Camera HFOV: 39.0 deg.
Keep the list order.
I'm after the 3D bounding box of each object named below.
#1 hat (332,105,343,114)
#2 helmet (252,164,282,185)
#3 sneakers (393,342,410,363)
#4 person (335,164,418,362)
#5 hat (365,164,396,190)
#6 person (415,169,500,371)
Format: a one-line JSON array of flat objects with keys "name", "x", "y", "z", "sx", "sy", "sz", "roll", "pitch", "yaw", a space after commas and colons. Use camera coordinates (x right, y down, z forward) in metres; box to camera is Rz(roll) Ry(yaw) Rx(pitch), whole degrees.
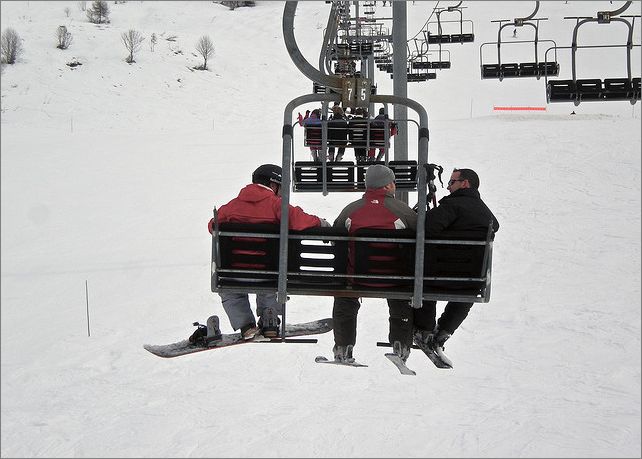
[{"name": "hat", "x": 0.450, "y": -3.516, "z": 26.304, "sx": 0.241, "sy": 0.265, "sz": 0.293, "roll": 1, "pitch": 13, "yaw": 4}, {"name": "helmet", "x": -1.133, "y": -1.175, "z": 18.694, "sx": 0.546, "sy": 0.394, "sz": 0.433, "roll": -7, "pitch": 8, "yaw": -15}, {"name": "sneakers", "x": 1.613, "y": 2.315, "z": 18.417, "sx": 0.206, "sy": 0.549, "sz": 0.245, "roll": -4, "pitch": 26, "yaw": 10}, {"name": "person", "x": 1.054, "y": 0.634, "z": 18.448, "sx": 1.659, "sy": 3.905, "sz": 0.853, "roll": 1, "pitch": 11, "yaw": 0}, {"name": "hat", "x": 1.196, "y": -1.153, "z": 18.534, "sx": 0.531, "sy": 0.376, "sz": 0.495, "roll": 2, "pitch": 28, "yaw": 12}, {"name": "person", "x": 2.695, "y": 0.711, "z": 18.693, "sx": 1.468, "sy": 3.934, "sz": 1.052, "roll": -5, "pitch": 12, "yaw": -30}]
